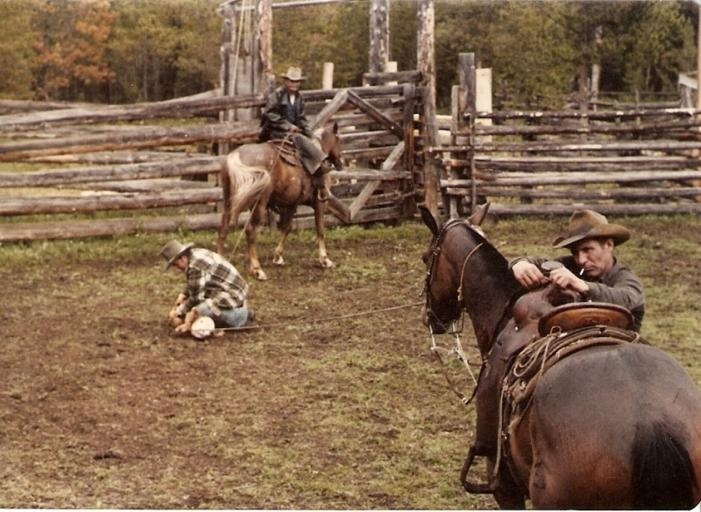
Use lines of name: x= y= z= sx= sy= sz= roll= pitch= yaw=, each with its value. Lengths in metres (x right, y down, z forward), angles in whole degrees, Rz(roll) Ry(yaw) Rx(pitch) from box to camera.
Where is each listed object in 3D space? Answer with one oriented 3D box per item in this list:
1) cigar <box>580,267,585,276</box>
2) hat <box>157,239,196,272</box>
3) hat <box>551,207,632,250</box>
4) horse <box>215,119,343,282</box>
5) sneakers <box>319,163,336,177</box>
cigar: x=3.019 y=0.202 z=13.390 sx=0.061 sy=0.074 sz=0.284 roll=-5 pitch=-9 yaw=8
hat: x=-2.709 y=-0.011 z=16.134 sx=0.460 sy=0.481 sz=0.464 roll=-1 pitch=9 yaw=-8
hat: x=3.218 y=-0.350 z=13.324 sx=0.710 sy=0.301 sz=0.568 roll=-5 pitch=-7 yaw=-35
horse: x=-1.210 y=-1.051 z=18.926 sx=1.373 sy=2.635 sz=3.177 roll=4 pitch=9 yaw=24
sneakers: x=-0.421 y=-1.663 z=19.093 sx=0.211 sy=0.303 sz=0.308 roll=5 pitch=-12 yaw=-2
